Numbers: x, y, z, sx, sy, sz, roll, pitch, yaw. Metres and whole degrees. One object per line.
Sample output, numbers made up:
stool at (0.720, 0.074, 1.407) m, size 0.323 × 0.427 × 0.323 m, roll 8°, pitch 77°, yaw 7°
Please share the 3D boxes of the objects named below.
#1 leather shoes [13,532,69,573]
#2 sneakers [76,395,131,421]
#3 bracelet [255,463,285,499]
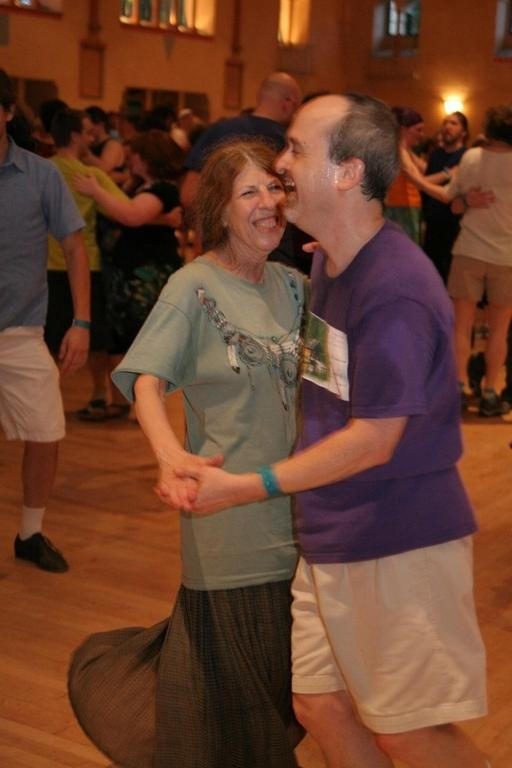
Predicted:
leather shoes at (-0.977, 0.737, 3.099) m, size 0.337 × 0.129 × 0.117 m, roll 12°, pitch 18°, yaw 35°
sneakers at (-1.210, 0.211, 5.331) m, size 0.500 × 0.197 × 0.164 m, roll 5°, pitch -17°, yaw -13°
bracelet at (0.014, 0.145, 1.059) m, size 0.045 × 0.043 × 0.043 m, roll -32°, pitch 70°, yaw -27°
